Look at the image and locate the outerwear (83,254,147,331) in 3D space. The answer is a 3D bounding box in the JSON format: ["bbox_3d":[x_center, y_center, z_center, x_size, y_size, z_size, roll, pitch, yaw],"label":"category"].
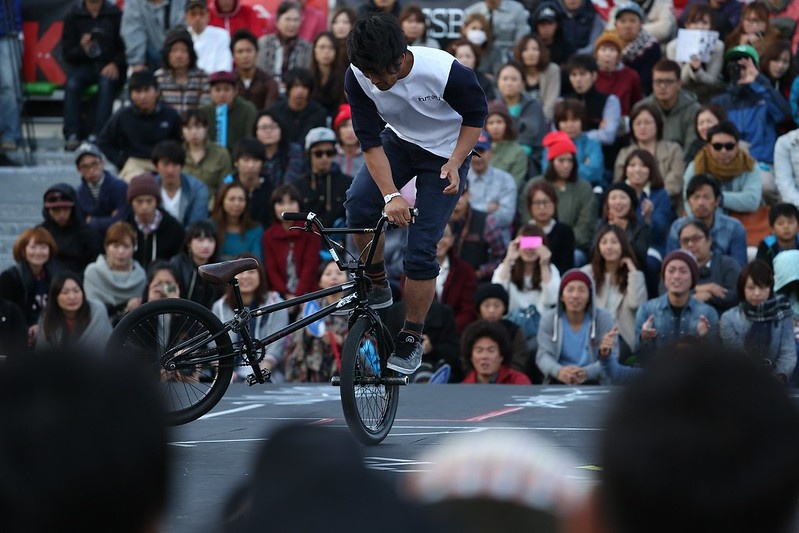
[{"bbox_3d":[-2.409,0.212,9.704,0.541,0.680,0.346,7,-16,-34],"label":"outerwear"}]

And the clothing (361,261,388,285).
[{"bbox_3d":[-0.157,0.042,7.424,0.119,0.151,0.156,-13,8,3],"label":"clothing"}]

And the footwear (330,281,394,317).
[{"bbox_3d":[-0.224,0.207,7.452,0.157,0.206,0.478,1,6,37],"label":"footwear"}]

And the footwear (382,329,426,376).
[{"bbox_3d":[0.030,0.552,7.443,0.180,0.238,0.544,13,7,1],"label":"footwear"}]

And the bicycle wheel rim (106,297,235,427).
[{"bbox_3d":[-1.267,0.547,6.386,0.790,0.820,0.163,-3,7,-1],"label":"bicycle wheel rim"}]

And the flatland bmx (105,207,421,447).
[{"bbox_3d":[-0.988,0.434,7.474,2.171,1.487,1.089,0,5,-16],"label":"flatland bmx"}]

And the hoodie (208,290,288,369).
[{"bbox_3d":[-1.123,0.491,9.097,0.556,0.778,0.244,-1,5,6],"label":"hoodie"}]

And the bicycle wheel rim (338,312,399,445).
[{"bbox_3d":[-0.187,0.725,7.112,0.343,0.701,0.725,4,-18,15],"label":"bicycle wheel rim"}]

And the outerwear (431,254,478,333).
[{"bbox_3d":[0.511,0.200,9.595,0.440,0.599,0.207,-5,14,-6],"label":"outerwear"}]

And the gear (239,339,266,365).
[{"bbox_3d":[-0.936,0.531,7.166,0.169,0.172,0.043,0,3,-8],"label":"gear"}]
